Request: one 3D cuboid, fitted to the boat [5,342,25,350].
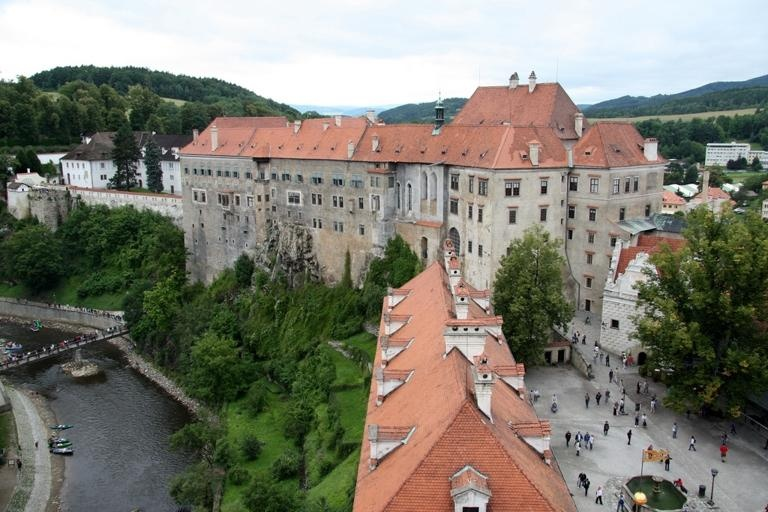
[{"bbox_3d":[-59.177,14.473,104.102,2.882,0.579,2.183,-1,9,-7],"label":"boat"}]

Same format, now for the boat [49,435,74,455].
[{"bbox_3d":[-40.096,23.563,80.948,2.232,0.742,2.036,4,32,-39],"label":"boat"}]
